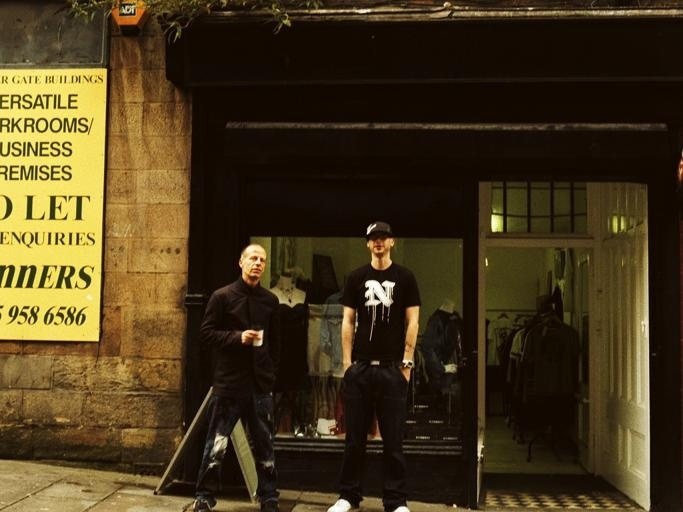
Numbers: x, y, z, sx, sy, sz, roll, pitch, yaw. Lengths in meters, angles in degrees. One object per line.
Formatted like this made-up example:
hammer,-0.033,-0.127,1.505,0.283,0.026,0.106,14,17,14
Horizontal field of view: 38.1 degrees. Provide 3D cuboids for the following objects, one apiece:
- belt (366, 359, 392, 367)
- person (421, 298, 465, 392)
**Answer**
belt,0.364,1.024,9.457,0.223,0.060,0.018,3,3,4
person,1.047,0.953,10.368,0.418,0.954,0.143,2,3,9
